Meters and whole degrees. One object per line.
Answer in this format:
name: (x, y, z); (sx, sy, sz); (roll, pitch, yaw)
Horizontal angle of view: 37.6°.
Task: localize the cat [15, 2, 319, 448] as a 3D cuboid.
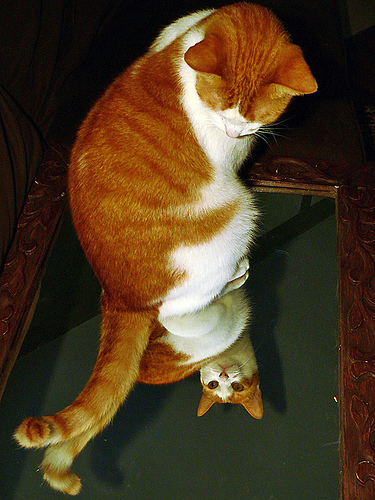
cat: (-0.079, -0.133, 1.446); (0.585, 0.515, 1.060); (22, 95, 21)
